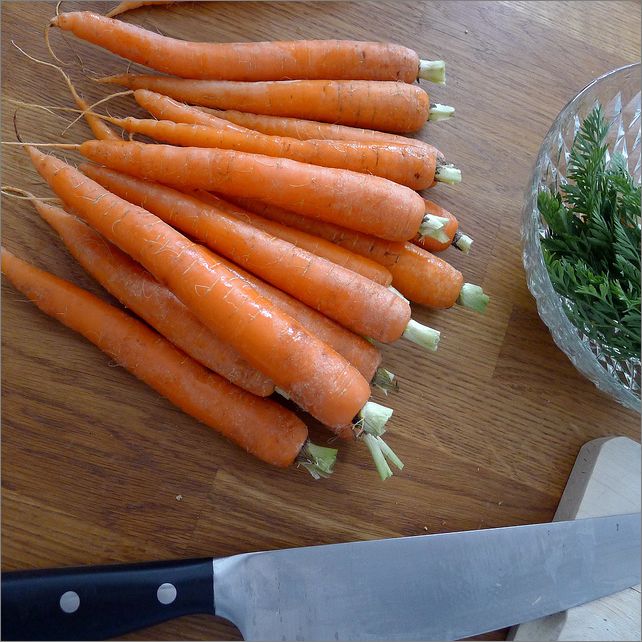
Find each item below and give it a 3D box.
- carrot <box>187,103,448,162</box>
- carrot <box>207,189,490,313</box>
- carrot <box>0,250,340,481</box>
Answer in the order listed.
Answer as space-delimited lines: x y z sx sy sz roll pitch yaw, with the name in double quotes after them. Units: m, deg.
-0.024 -0.360 1.272 0.591 0.054 0.052 9 93 -2 "carrot"
0.028 -0.125 1.233 0.485 0.081 0.080 20 112 -1 "carrot"
-0.286 0.079 1.221 0.801 0.107 0.098 27 93 5 "carrot"
